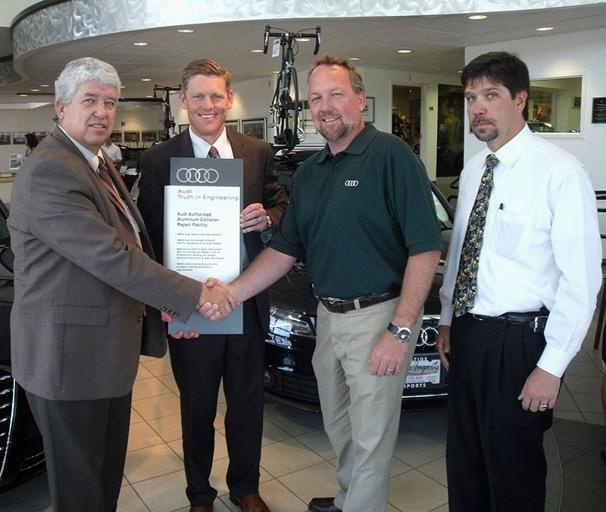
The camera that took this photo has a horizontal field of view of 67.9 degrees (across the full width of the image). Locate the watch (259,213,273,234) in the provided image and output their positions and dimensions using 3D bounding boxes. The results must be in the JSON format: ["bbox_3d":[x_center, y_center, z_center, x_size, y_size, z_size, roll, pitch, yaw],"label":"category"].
[{"bbox_3d":[-0.156,-0.141,1.952,0.032,0.073,0.054,17,-29,-24],"label":"watch"}]

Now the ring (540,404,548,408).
[{"bbox_3d":[0.760,0.472,1.421,0.012,0.006,0.017,1,-6,-4],"label":"ring"}]

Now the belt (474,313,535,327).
[{"bbox_3d":[0.670,0.204,1.501,0.185,0.043,0.026,4,11,28],"label":"belt"}]

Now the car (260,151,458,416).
[{"bbox_3d":[0.143,0.325,2.885,0.735,0.700,1.565,0,7,-10],"label":"car"}]

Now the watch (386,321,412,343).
[{"bbox_3d":[0.335,0.251,1.585,0.079,0.050,0.074,33,-17,-37],"label":"watch"}]

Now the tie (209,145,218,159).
[{"bbox_3d":[-0.382,-0.441,1.927,0.048,0.068,0.020,-9,10,-22],"label":"tie"}]
